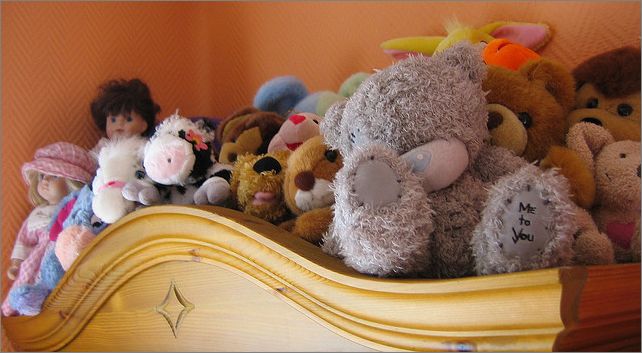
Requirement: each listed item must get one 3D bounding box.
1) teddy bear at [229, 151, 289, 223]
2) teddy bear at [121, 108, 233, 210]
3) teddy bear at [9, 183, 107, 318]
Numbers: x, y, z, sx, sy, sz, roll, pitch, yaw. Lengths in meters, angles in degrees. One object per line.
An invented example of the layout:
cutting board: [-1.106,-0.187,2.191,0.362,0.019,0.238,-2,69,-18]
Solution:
teddy bear: [-0.258,0.017,2.639,0.237,0.282,0.263,-1,22,-14]
teddy bear: [-0.551,-0.034,2.618,0.383,0.301,0.369,-7,-2,8]
teddy bear: [-1.103,0.341,2.729,0.211,0.652,0.380,25,14,-30]
